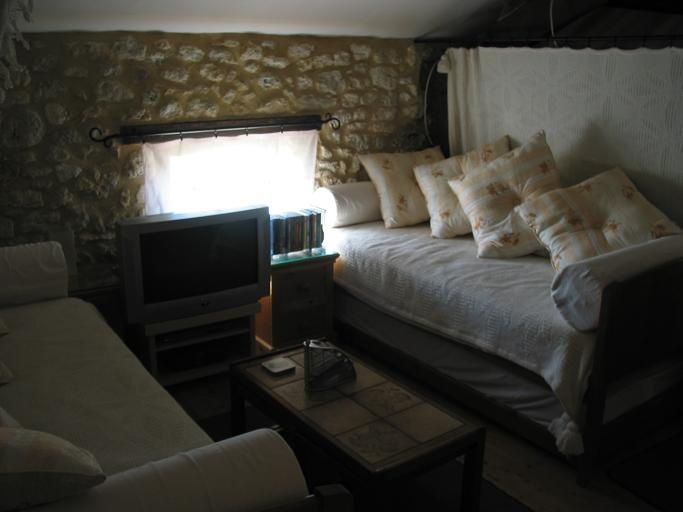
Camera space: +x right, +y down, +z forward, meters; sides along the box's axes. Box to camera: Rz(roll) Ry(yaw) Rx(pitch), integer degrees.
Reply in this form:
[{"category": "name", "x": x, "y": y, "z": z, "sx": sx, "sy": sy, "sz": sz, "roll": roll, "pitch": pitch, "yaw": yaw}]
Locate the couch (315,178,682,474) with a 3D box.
[{"category": "couch", "x": 0.850, "y": 0.413, "z": 3.459, "sx": 1.235, "sy": 0.982, "sz": 1.879, "roll": -28, "pitch": 38, "yaw": -29}]
